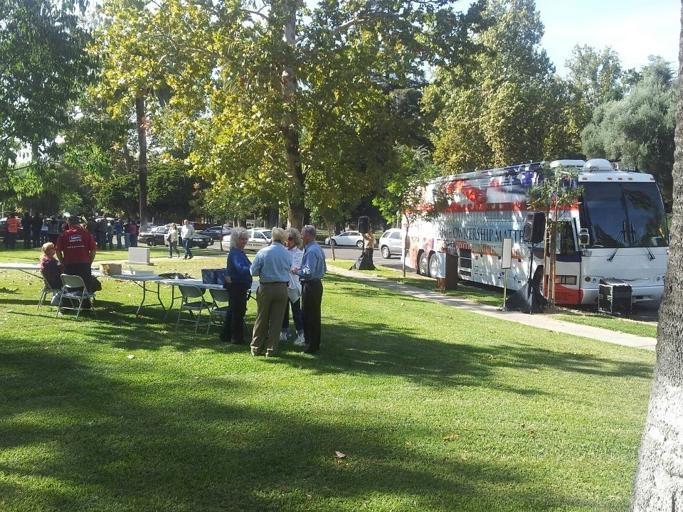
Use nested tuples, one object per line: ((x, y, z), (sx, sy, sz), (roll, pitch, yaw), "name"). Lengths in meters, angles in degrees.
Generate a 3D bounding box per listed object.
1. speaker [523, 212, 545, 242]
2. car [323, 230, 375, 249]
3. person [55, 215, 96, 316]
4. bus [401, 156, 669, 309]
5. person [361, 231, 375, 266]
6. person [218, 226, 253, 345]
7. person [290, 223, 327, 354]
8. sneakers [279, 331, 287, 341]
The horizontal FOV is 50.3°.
((5.284, -0.768, 19.856), (0.541, 0.870, 0.292), (4, 9, 16), "speaker")
((0.578, -1.209, 55.491), (2.849, 1.138, 1.401), (3, 1, 16), "car")
((-5.628, 0.002, 15.467), (0.744, 1.655, 0.585), (-1, 9, -21), "person")
((5.612, -0.909, 26.009), (3.326, 4.530, 14.099), (0, 2, -16), "bus")
((1.197, -0.323, 32.545), (0.550, 1.629, 0.440), (9, -26, -14), "person")
((-1.959, 0.576, 13.678), (0.589, 2.150, 0.445), (3, 9, 5), "person")
((-0.594, 0.581, 13.640), (0.563, 2.323, 1.134), (2, 9, -2), "person")
((-1.128, 1.575, 14.415), (0.168, 0.204, 0.177), (1, -2, -22), "sneakers")
